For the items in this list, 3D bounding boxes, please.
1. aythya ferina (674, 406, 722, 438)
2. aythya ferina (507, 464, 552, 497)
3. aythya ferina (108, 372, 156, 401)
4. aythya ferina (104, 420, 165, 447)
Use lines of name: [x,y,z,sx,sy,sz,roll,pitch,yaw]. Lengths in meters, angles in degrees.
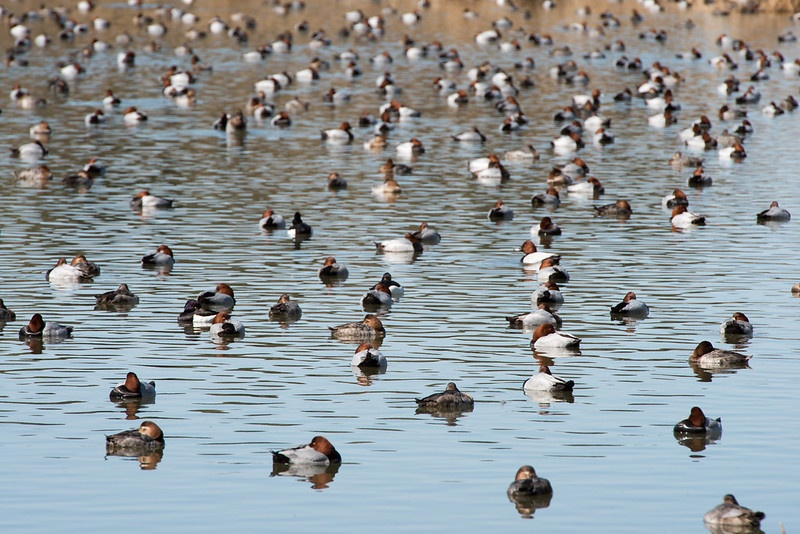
aythya ferina: [7.274,3.906,28.563,0.740,0.386,1.182,0,4,-37]
aythya ferina: [2.899,4.884,25.886,0.973,0.683,0.505,-1,-19,3]
aythya ferina: [-7.057,3.221,30.085,1.185,0.728,0.898,3,-18,-11]
aythya ferina: [-6.466,4.083,27.666,1.288,0.411,0.619,-4,2,1]
